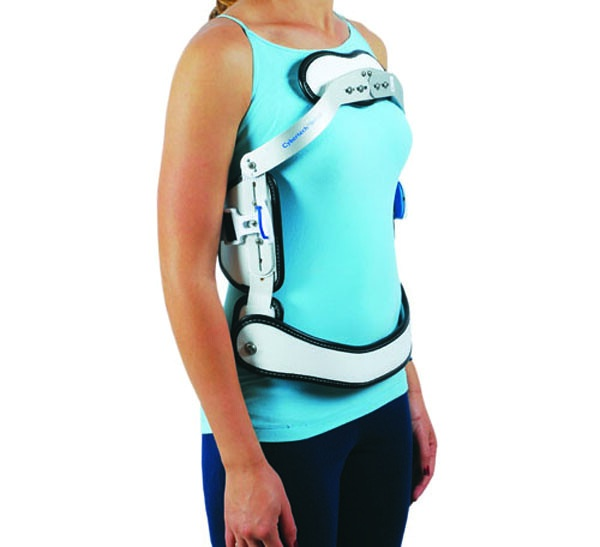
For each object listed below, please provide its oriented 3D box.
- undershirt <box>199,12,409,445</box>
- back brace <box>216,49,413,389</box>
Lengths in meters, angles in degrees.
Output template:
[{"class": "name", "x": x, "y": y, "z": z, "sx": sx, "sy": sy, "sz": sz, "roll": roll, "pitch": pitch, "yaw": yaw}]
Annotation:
[{"class": "undershirt", "x": -0.017, "y": -0.116, "z": 1.895, "sx": 0.655, "sy": 0.923, "sz": 0.545, "roll": -8, "pitch": 8, "yaw": -36}, {"class": "back brace", "x": 0.051, "y": -0.148, "z": 1.744, "sx": 0.504, "sy": 0.845, "sz": 0.329, "roll": 0, "pitch": -16, "yaw": -15}]
